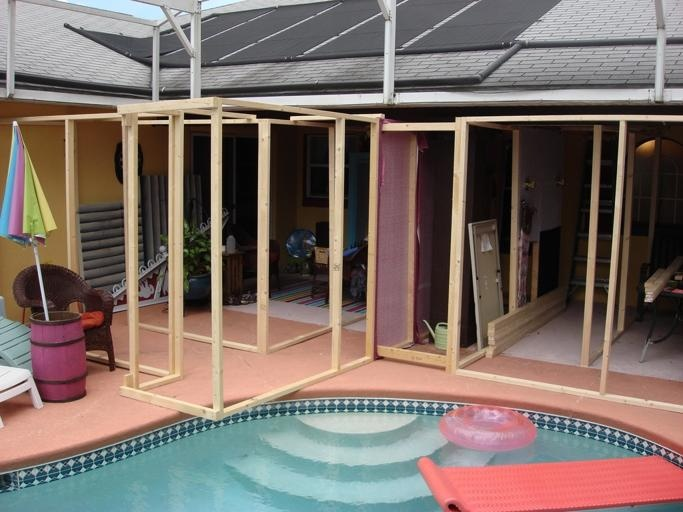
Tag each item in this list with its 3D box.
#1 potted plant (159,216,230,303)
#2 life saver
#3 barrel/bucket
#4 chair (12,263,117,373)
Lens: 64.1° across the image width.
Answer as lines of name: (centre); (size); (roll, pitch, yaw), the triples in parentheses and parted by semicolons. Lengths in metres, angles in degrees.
potted plant: (-2.607, -0.034, 9.396); (0.718, 1.070, 1.539); (-3, 15, -13)
life saver: (1.434, 1.615, 5.471); (0.850, 0.311, 0.770); (2, 9, -14)
barrel/bucket: (-2.998, 1.082, 5.846); (0.545, 0.775, 0.545); (-3, 3, 0)
chair: (-3.238, 0.739, 6.311); (1.107, 1.340, 1.183); (7, 10, 39)
